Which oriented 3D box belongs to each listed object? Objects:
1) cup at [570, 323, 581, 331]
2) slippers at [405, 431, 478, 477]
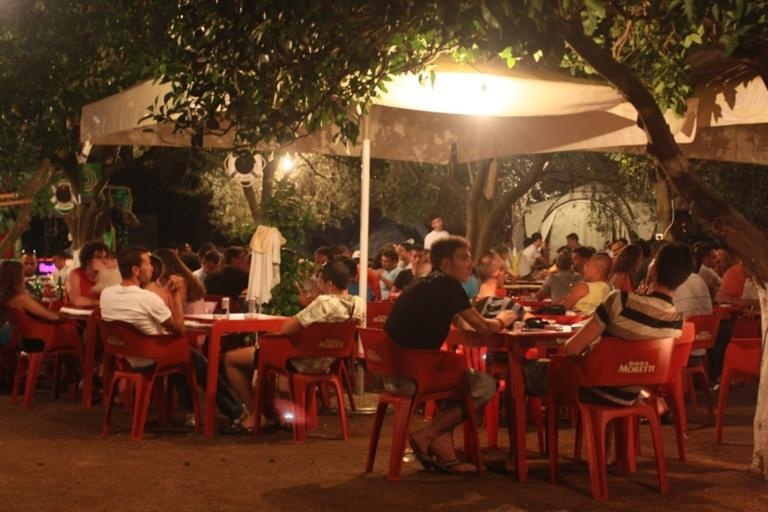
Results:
[{"bbox_3d":[1.990,0.747,7.309,0.070,0.037,0.099,-3,-6,-12],"label":"cup"},{"bbox_3d":[0.507,2.014,6.981,0.771,0.304,0.202,14,10,32],"label":"slippers"}]
